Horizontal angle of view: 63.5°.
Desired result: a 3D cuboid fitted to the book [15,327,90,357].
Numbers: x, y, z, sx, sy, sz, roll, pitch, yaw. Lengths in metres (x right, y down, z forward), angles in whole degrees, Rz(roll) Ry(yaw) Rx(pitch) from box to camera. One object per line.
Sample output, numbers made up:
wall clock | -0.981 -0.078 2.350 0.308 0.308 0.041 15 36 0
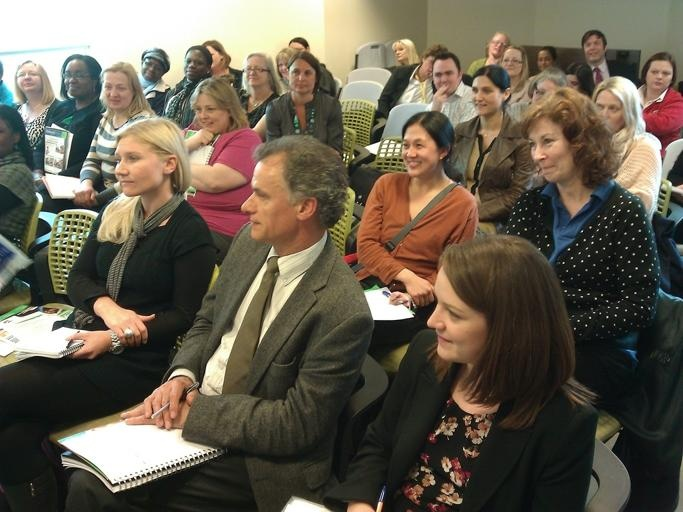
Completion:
book | -1.274 0.384 2.418 0.153 0.038 0.156 4 18 18

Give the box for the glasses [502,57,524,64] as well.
glasses | 1.903 -2.167 6.131 0.202 0.055 0.067 6 19 15

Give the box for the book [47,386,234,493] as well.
book | -0.695 0.623 1.932 0.298 0.080 0.352 22 23 39

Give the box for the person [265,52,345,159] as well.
person | -0.350 -1.277 5.016 0.710 1.084 0.616 -1 -8 -12

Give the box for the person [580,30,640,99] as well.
person | 3.675 -2.635 7.314 0.741 0.994 0.718 0 15 24

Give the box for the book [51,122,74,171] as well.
book | -2.481 -0.953 4.901 0.065 0.435 0.377 12 16 19

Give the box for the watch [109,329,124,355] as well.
watch | -1.018 0.395 2.495 0.087 0.099 0.060 -4 -3 8

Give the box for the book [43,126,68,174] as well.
book | -2.522 -0.931 4.873 0.340 0.450 0.064 17 17 24

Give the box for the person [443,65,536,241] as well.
person | 1.007 -0.724 4.065 0.695 1.239 0.658 -1 25 4

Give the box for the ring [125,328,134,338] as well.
ring | -0.959 0.346 2.492 0.030 0.031 0.017 -37 2 -15

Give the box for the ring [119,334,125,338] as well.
ring | -0.987 0.360 2.487 0.016 0.016 0.015 0 -5 0
